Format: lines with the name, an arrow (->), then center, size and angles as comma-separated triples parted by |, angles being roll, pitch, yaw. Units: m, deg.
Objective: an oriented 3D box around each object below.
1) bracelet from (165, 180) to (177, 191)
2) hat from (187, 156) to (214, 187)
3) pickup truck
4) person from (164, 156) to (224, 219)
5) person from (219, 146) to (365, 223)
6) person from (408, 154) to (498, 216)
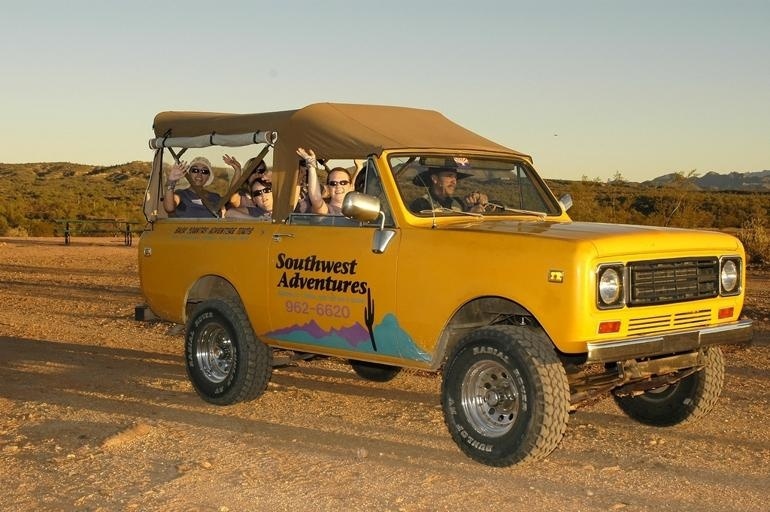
bracelet -> -2.822, -0.935, 7.439 | 0.114, 0.118, 0.138 | 1, 4, 13
hat -> -2.360, -1.118, 7.228 | 0.296, 0.377, 0.101 | 11, 28, 7
pickup truck -> 0.092, -0.206, 7.001 | 6.654, 3.297, 3.726 | 1, 2, 42
person -> -2.569, -0.911, 7.405 | 0.830, 0.780, 0.325 | 16, 21, 20
person -> -1.069, -0.803, 6.768 | 1.404, 0.773, 0.875 | 0, 2, 36
person -> 0.691, -0.742, 5.931 | 0.822, 0.321, 0.593 | -1, 1, 40
